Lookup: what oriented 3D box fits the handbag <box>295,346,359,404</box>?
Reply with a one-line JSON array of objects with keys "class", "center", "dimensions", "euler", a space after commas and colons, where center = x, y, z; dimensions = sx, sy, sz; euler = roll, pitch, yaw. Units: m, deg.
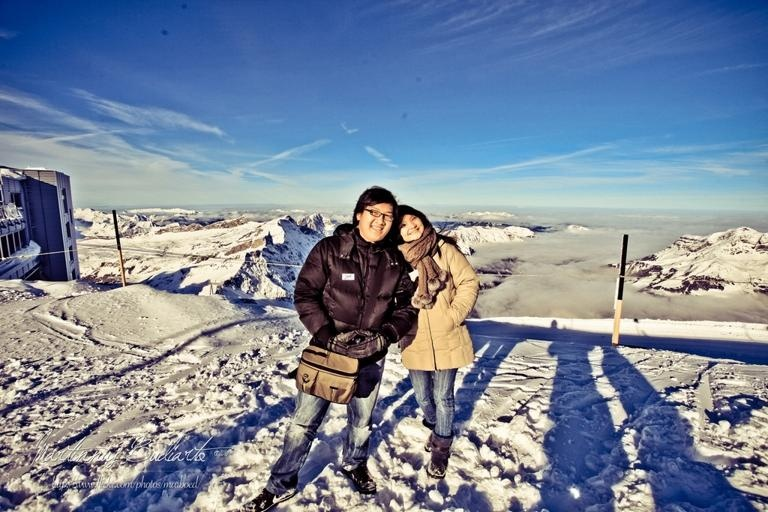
[{"class": "handbag", "center": [-0.825, 1.693, 5.598], "dimensions": [0.937, 0.448, 0.530], "euler": [13, 49, 2]}]

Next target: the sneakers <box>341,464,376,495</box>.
[{"class": "sneakers", "center": [-0.350, 3.470, 6.036], "dimensions": [0.713, 0.258, 0.272], "euler": [10, -15, 38]}]

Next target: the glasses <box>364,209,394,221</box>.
[{"class": "glasses", "center": [-0.085, -0.614, 5.744], "dimensions": [0.262, 0.063, 0.245], "euler": [12, 3, -32]}]

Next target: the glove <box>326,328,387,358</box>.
[{"class": "glove", "center": [-0.410, 1.255, 5.637], "dimensions": [0.716, 0.206, 0.445], "euler": [2, 3, 2]}]
